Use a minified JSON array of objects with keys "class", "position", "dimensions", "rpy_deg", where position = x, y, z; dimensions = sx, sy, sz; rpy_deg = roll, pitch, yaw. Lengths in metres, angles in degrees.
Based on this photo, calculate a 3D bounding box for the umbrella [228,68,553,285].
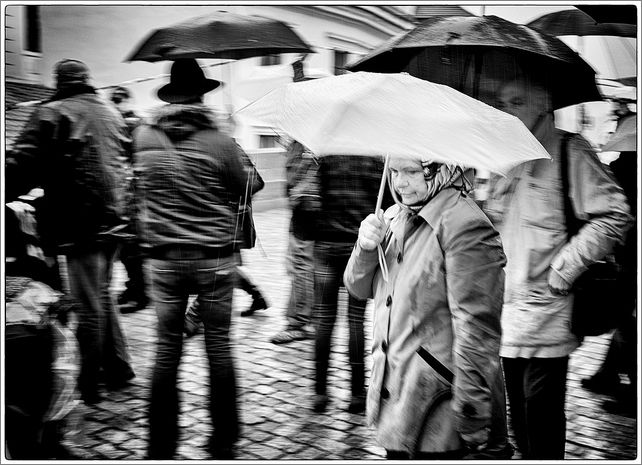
[{"class":"umbrella","position":[0.272,-0.377,3.679],"dimensions":[0.849,0.492,0.862],"rpy_deg":[18,9,12]}]

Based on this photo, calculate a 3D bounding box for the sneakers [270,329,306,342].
[{"class":"sneakers","position":[-0.272,0.964,7.173],"dimensions":[0.372,0.119,0.112],"rpy_deg":[1,0,-16]}]

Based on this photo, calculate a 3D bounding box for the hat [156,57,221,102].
[{"class":"hat","position":[-0.895,-1.039,5.114],"dimensions":[0.469,0.139,0.418],"rpy_deg":[-4,-5,3]}]
